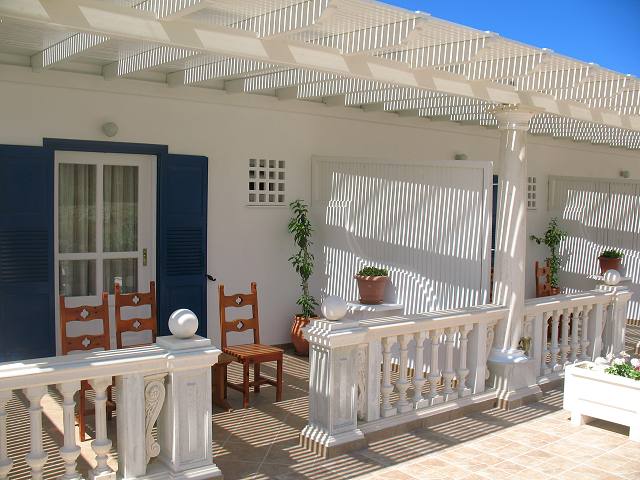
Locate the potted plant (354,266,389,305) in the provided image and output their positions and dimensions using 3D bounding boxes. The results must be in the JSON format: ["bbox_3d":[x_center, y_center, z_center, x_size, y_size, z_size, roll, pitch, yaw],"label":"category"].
[{"bbox_3d":[0.696,0.605,7.114,0.476,0.467,0.476,0,2,-27],"label":"potted plant"}]

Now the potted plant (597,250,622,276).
[{"bbox_3d":[5.631,0.430,9.927,0.477,0.497,0.490,1,4,24],"label":"potted plant"}]
